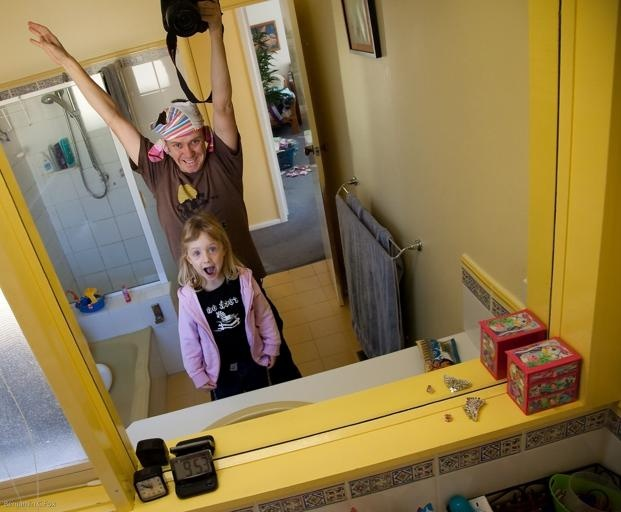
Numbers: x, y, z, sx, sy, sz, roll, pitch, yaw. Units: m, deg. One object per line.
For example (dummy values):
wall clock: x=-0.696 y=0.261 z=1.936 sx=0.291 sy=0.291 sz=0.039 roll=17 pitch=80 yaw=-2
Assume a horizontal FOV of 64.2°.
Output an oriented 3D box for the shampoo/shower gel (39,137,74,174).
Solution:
shampoo/shower gel: x=-0.630 y=-0.252 z=1.232 sx=0.017 sy=0.078 sz=0.079 roll=8 pitch=22 yaw=20

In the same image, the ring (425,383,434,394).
ring: x=0.246 y=0.275 z=1.017 sx=0.017 sy=0.008 sz=0.017 roll=-10 pitch=26 yaw=5

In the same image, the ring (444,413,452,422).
ring: x=0.272 y=0.321 z=0.978 sx=0.018 sy=0.004 sz=0.018 roll=-11 pitch=27 yaw=5
